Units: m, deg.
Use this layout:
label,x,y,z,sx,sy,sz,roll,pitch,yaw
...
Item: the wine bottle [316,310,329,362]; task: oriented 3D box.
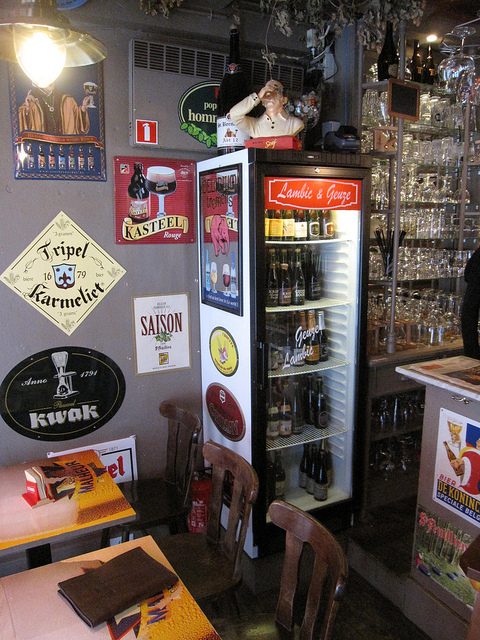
label,x,y,z,sx,sy,sz,roll,pitch,yaw
wine bottle,0.449,0.093,2.804,0.081,0.306,0.077,-3,28,2

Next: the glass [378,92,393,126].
label,x,y,z,sx,sy,sz,roll,pitch,yaw
glass,0.853,-1.245,2.921,0.084,0.195,0.086,2,13,15

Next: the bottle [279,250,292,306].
label,x,y,z,sx,sy,sz,roll,pitch,yaw
bottle,0.230,-0.216,2.532,0.065,0.268,0.172,0,13,5

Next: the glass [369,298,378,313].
label,x,y,z,sx,sy,sz,roll,pitch,yaw
glass,0.816,-0.091,3.064,0.047,0.085,0.066,2,13,15

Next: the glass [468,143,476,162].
label,x,y,z,sx,sy,sz,roll,pitch,yaw
glass,1.519,-1.114,3.281,0.086,0.114,0.034,-10,15,-34

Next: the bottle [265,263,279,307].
label,x,y,z,sx,sy,sz,roll,pitch,yaw
bottle,0.162,-0.174,2.492,0.060,0.204,0.174,0,13,5

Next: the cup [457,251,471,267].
label,x,y,z,sx,sy,sz,roll,pitch,yaw
cup,1.470,-0.405,3.266,0.060,0.105,0.155,8,16,34

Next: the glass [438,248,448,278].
label,x,y,z,sx,sy,sz,roll,pitch,yaw
glass,1.290,-0.362,3.186,0.090,0.182,0.041,-11,16,-37

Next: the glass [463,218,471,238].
label,x,y,z,sx,sy,sz,roll,pitch,yaw
glass,1.571,-0.633,3.450,0.043,0.110,0.209,4,15,23

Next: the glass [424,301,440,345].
label,x,y,z,sx,sy,sz,roll,pitch,yaw
glass,1.194,0.021,3.099,0.086,0.248,0.158,4,14,21

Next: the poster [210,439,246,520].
label,x,y,z,sx,sy,sz,roll,pitch,yaw
poster,-0.093,0.859,2.608,0.182,0.393,0.195,-2,10,-20

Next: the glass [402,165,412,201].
label,x,y,z,sx,sy,sz,roll,pitch,yaw
glass,1.015,-0.840,3.034,0.049,0.211,0.128,3,13,18

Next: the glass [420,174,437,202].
label,x,y,z,sx,sy,sz,roll,pitch,yaw
glass,1.196,-0.848,3.175,0.095,0.178,0.300,3,14,20

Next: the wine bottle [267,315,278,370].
label,x,y,z,sx,sy,sz,roll,pitch,yaw
wine bottle,0.166,0.150,2.585,0.052,0.202,0.135,0,13,4

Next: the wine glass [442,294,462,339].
label,x,y,z,sx,sy,sz,roll,pitch,yaw
wine glass,1.397,-0.030,3.286,0.106,0.271,0.290,4,14,24

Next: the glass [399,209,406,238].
label,x,y,z,sx,sy,sz,roll,pitch,yaw
glass,0.995,-0.619,3.051,0.035,0.120,0.099,3,14,20

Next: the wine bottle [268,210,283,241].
label,x,y,z,sx,sy,sz,roll,pitch,yaw
wine bottle,0.169,-0.458,2.402,0.068,0.140,0.118,0,13,7

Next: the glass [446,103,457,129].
label,x,y,z,sx,sy,sz,roll,pitch,yaw
glass,1.345,-1.302,3.164,0.062,0.154,0.130,6,15,28

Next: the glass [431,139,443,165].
label,x,y,z,sx,sy,sz,roll,pitch,yaw
glass,1.256,-1.088,3.192,0.070,0.150,0.052,-13,17,-42

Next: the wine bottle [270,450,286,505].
label,x,y,z,sx,sy,sz,roll,pitch,yaw
wine bottle,0.203,0.865,2.698,0.081,0.342,0.084,-3,12,1

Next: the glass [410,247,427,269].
label,x,y,z,sx,sy,sz,roll,pitch,yaw
glass,1.154,-0.381,3.084,0.113,0.198,0.111,4,10,38

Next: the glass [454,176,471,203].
label,x,y,z,sx,sy,sz,roll,pitch,yaw
glass,1.516,-0.896,3.402,0.105,0.185,0.458,4,15,23

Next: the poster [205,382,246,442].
label,x,y,z,sx,sy,sz,roll,pitch,yaw
poster,-0.072,0.493,2.589,0.018,0.282,0.465,-7,14,-23

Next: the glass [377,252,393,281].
label,x,y,z,sx,sy,sz,roll,pitch,yaw
glass,0.856,-0.325,2.958,0.071,0.168,0.327,1,14,12

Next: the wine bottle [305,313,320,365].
label,x,y,z,sx,sy,sz,roll,pitch,yaw
wine bottle,0.394,0.104,2.705,0.064,0.280,0.122,7,15,35

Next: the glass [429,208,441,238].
label,x,y,z,sx,sy,sz,roll,pitch,yaw
glass,1.247,-0.617,3.185,0.121,0.176,0.053,-13,17,-42

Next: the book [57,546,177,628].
label,x,y,z,sx,sy,sz,roll,pitch,yaw
book,-0.343,0.762,1.403,0.213,0.069,0.287,6,5,39

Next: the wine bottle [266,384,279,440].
label,x,y,z,sx,sy,sz,roll,pitch,yaw
wine bottle,0.170,0.490,2.614,0.061,0.248,0.159,0,13,5

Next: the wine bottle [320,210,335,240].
label,x,y,z,sx,sy,sz,roll,pitch,yaw
wine bottle,0.460,-0.506,2.635,0.070,0.148,0.160,8,16,36

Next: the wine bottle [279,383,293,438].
label,x,y,z,sx,sy,sz,roll,pitch,yaw
wine bottle,0.241,0.477,2.644,0.064,0.287,0.147,1,13,10

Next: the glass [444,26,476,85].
label,x,y,z,sx,sy,sz,roll,pitch,yaw
glass,1.083,-1.304,2.449,0.141,0.251,0.271,4,14,21

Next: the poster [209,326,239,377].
label,x,y,z,sx,sy,sz,roll,pitch,yaw
poster,-0.092,0.171,2.568,0.007,0.271,0.270,-14,-25,29

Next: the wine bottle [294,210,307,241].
label,x,y,z,sx,sy,sz,roll,pitch,yaw
wine bottle,0.303,-0.480,2.510,0.063,0.148,0.193,0,13,7

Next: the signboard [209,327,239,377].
label,x,y,z,sx,sy,sz,roll,pitch,yaw
signboard,-0.092,0.171,2.553,0.009,0.277,0.264,-20,-36,31

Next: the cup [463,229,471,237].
label,x,y,z,sx,sy,sz,roll,pitch,yaw
cup,1.542,-0.593,3.390,0.058,0.052,0.022,-8,14,-27

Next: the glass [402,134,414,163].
label,x,y,z,sx,sy,sz,roll,pitch,yaw
glass,1.017,-1.046,3.015,0.068,0.175,0.216,3,14,18

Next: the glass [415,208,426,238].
label,x,y,z,sx,sy,sz,roll,pitch,yaw
glass,1.145,-0.609,3.156,0.056,0.181,0.153,6,15,29

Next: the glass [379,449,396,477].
label,x,y,z,sx,sy,sz,roll,pitch,yaw
glass,0.906,0.890,3.076,0.091,0.140,0.156,3,14,17

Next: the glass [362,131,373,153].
label,x,y,z,sx,sy,sz,roll,pitch,yaw
glass,0.777,-1.103,3.066,0.093,0.127,0.032,-11,16,-37

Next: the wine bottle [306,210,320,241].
label,x,y,z,sx,sy,sz,roll,pitch,yaw
wine bottle,0.373,-0.494,2.571,0.069,0.152,0.144,1,13,9

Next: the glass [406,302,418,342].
label,x,y,z,sx,sy,sz,roll,pitch,yaw
glass,1.072,0.013,3.128,0.065,0.241,0.120,1,13,11

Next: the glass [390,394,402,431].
label,x,y,z,sx,sy,sz,roll,pitch,yaw
glass,0.951,0.568,3.029,0.066,0.155,0.218,3,14,18

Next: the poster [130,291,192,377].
label,x,y,z,sx,sy,sz,roll,pitch,yaw
poster,-0.435,0.078,2.724,0.352,0.451,0.037,-10,15,-32

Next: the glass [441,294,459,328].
label,x,y,z,sx,sy,sz,roll,pitch,yaw
glass,1.361,-0.047,3.240,0.067,0.214,0.342,6,15,31
